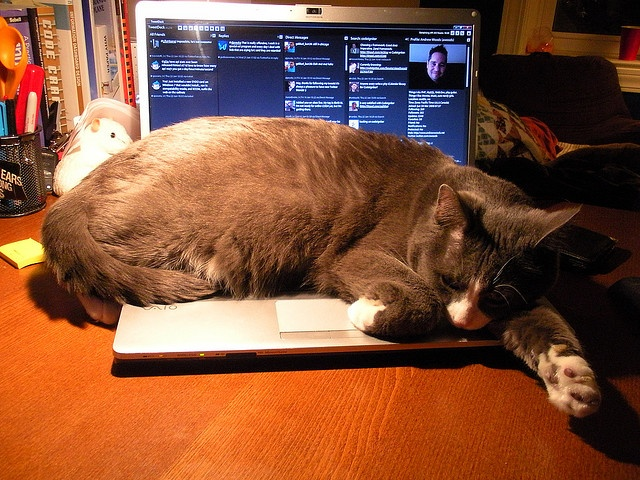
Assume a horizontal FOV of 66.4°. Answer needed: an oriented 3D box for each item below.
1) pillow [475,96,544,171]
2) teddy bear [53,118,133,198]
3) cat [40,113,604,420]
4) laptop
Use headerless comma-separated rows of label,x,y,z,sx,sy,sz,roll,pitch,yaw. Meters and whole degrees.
pillow,0.621,-0.357,1.725,0.284,0.109,0.366,9,24,-2
teddy bear,-0.495,-0.204,1.197,0.240,0.238,0.153,3,12,-11
cat,0.013,0.002,0.889,0.928,0.298,0.514,12,25,-5
laptop,-0.035,-0.111,0.900,0.689,0.393,0.587,0,34,-4
